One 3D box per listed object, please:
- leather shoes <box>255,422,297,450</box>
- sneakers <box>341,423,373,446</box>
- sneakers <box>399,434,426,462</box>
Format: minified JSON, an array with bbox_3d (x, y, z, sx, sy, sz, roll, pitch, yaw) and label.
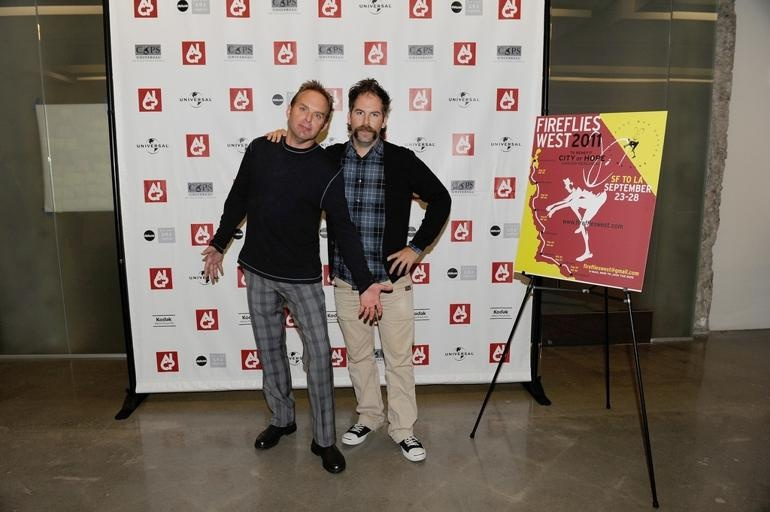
[{"bbox_3d":[-0.854,1.382,4.981,0.124,0.140,0.341,7,14,44],"label":"leather shoes"},{"bbox_3d":[-0.212,1.397,4.964,0.098,0.112,0.275,5,-4,29],"label":"sneakers"},{"bbox_3d":[0.205,1.464,4.816,0.102,0.098,0.237,-3,0,-18],"label":"sneakers"}]
